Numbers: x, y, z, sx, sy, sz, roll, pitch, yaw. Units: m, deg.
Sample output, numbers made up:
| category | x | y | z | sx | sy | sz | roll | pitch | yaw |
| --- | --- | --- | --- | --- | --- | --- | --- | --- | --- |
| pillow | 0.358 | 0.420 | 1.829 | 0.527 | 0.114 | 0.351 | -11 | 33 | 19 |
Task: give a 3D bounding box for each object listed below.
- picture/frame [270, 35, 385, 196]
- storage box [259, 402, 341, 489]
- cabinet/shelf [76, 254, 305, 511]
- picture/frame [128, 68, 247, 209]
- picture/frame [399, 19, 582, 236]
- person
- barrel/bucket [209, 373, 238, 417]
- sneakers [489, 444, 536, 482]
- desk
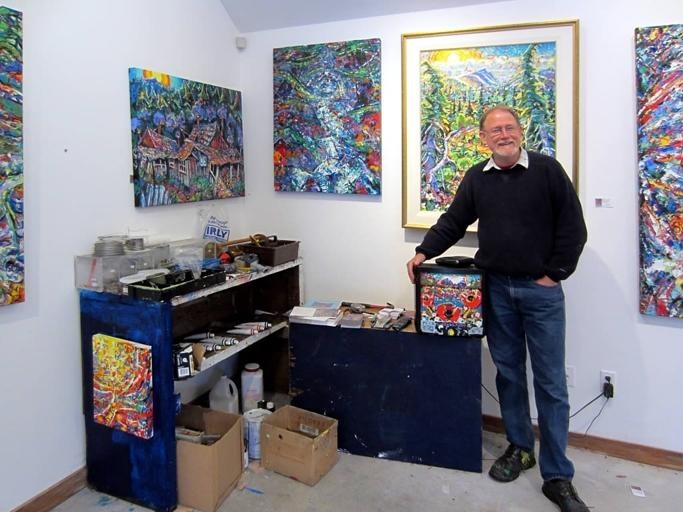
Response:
| category | x | y | z | sx | sy | sz | roll | pitch | yaw |
| --- | --- | --- | --- | --- | --- | --- | --- | --- | --- |
| picture/frame | -0.072 | -1.030 | 3.562 | 1.063 | 1.441 | 0.055 | 2 | 5 | 21 |
| storage box | -0.243 | 1.120 | 3.021 | 0.435 | 0.325 | 0.359 | 6 | 11 | 35 |
| cabinet/shelf | -0.900 | 0.757 | 2.889 | 0.433 | 0.959 | 1.241 | 2 | 6 | 17 |
| picture/frame | -1.005 | -0.772 | 3.348 | 0.047 | 0.788 | 0.965 | 6 | 11 | 28 |
| picture/frame | 0.941 | -0.825 | 3.048 | 1.323 | 1.672 | 0.073 | 1 | 5 | 24 |
| person | 0.951 | 0.253 | 2.794 | 1.025 | 2.095 | 0.454 | 9 | 16 | 31 |
| barrel/bucket | -0.796 | 0.961 | 3.403 | 0.178 | 0.284 | 0.203 | -3 | 5 | -19 |
| sneakers | 1.021 | 1.221 | 2.988 | 0.325 | 0.147 | 0.125 | -11 | 6 | -23 |
| desk | 0.334 | 0.819 | 3.396 | 1.240 | 0.853 | 0.729 | 3 | 10 | 9 |
